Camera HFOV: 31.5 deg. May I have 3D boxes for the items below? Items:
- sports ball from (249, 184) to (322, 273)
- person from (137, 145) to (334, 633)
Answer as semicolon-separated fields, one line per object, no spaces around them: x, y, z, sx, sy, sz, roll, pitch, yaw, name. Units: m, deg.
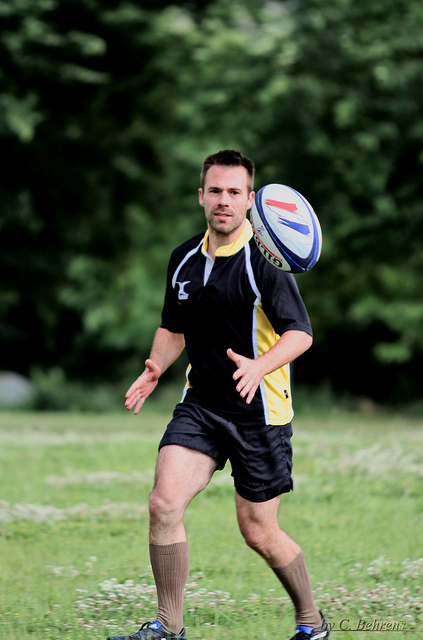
0.292;-0.369;2.966;0.277;0.359;0.290;0;5;0;sports ball
-0.017;0.294;3.048;0.672;2.006;0.841;-5;7;-41;person
